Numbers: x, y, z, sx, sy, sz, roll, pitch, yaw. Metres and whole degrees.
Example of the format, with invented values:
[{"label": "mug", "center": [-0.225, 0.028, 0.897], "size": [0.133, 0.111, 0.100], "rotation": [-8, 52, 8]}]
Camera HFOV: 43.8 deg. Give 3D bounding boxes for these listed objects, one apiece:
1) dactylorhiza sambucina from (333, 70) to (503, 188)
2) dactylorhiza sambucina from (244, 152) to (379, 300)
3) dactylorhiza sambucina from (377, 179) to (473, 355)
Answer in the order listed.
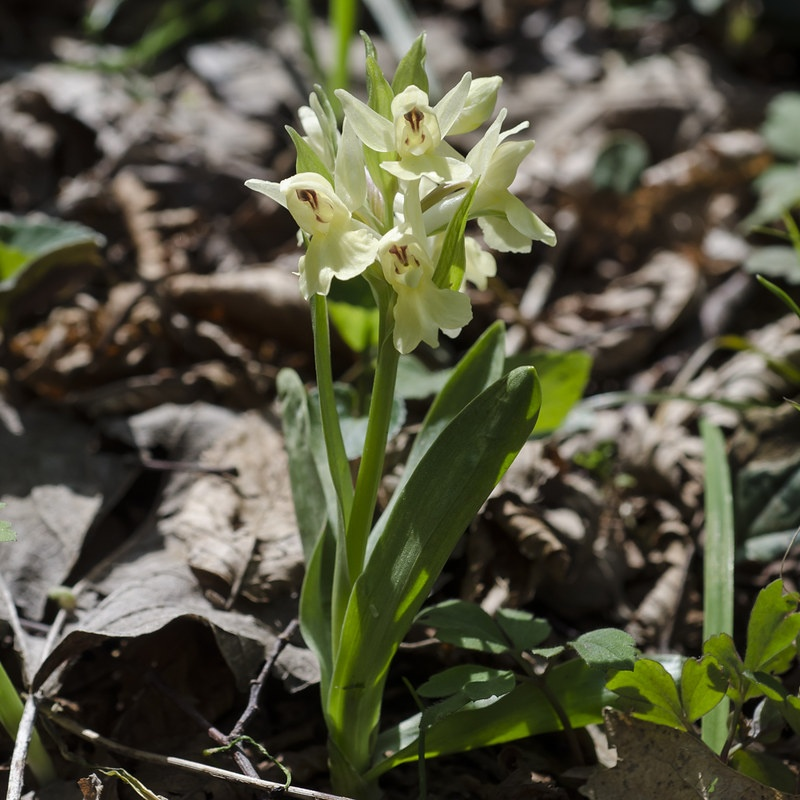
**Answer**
[{"label": "dactylorhiza sambucina", "center": [0.054, -0.566, 2.053], "size": [0.358, 0.111, 0.303], "rotation": [-5, 9, -8]}, {"label": "dactylorhiza sambucina", "center": [-0.154, -0.343, 1.954], "size": [0.307, 0.252, 0.136], "rotation": [19, 17, 2]}, {"label": "dactylorhiza sambucina", "center": [0.029, -0.252, 1.968], "size": [0.224, 0.334, 0.117], "rotation": [-10, 7, -4]}]
